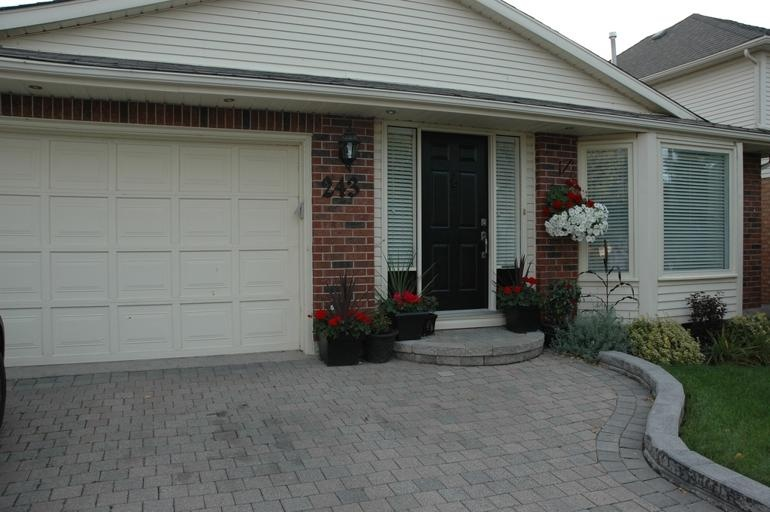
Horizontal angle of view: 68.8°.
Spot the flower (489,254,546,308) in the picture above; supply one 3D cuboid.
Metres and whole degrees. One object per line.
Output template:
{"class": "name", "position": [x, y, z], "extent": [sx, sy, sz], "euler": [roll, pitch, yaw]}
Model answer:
{"class": "flower", "position": [2.088, 0.467, 8.839], "extent": [0.822, 1.020, 0.776], "euler": [-2, 17, -3]}

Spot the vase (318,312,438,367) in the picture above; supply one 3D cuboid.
{"class": "vase", "position": [-0.182, 1.138, 7.706], "extent": [1.212, 0.455, 0.754], "euler": [-1, 3, -17]}

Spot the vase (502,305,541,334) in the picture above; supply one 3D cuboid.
{"class": "vase", "position": [2.103, 0.954, 8.553], "extent": [0.458, 0.289, 0.453], "euler": [1, -6, -3]}

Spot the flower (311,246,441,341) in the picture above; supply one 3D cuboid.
{"class": "flower", "position": [-0.238, 0.764, 8.175], "extent": [2.051, 1.290, 1.105], "euler": [0, -1, -23]}

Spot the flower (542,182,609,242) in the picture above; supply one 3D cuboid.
{"class": "flower", "position": [3.011, -0.708, 8.890], "extent": [0.950, 0.849, 0.502], "euler": [4, 16, 15]}

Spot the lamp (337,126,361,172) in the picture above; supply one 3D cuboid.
{"class": "lamp", "position": [-0.511, -1.510, 8.003], "extent": [0.304, 0.595, 0.258], "euler": [-1, 15, -5]}
